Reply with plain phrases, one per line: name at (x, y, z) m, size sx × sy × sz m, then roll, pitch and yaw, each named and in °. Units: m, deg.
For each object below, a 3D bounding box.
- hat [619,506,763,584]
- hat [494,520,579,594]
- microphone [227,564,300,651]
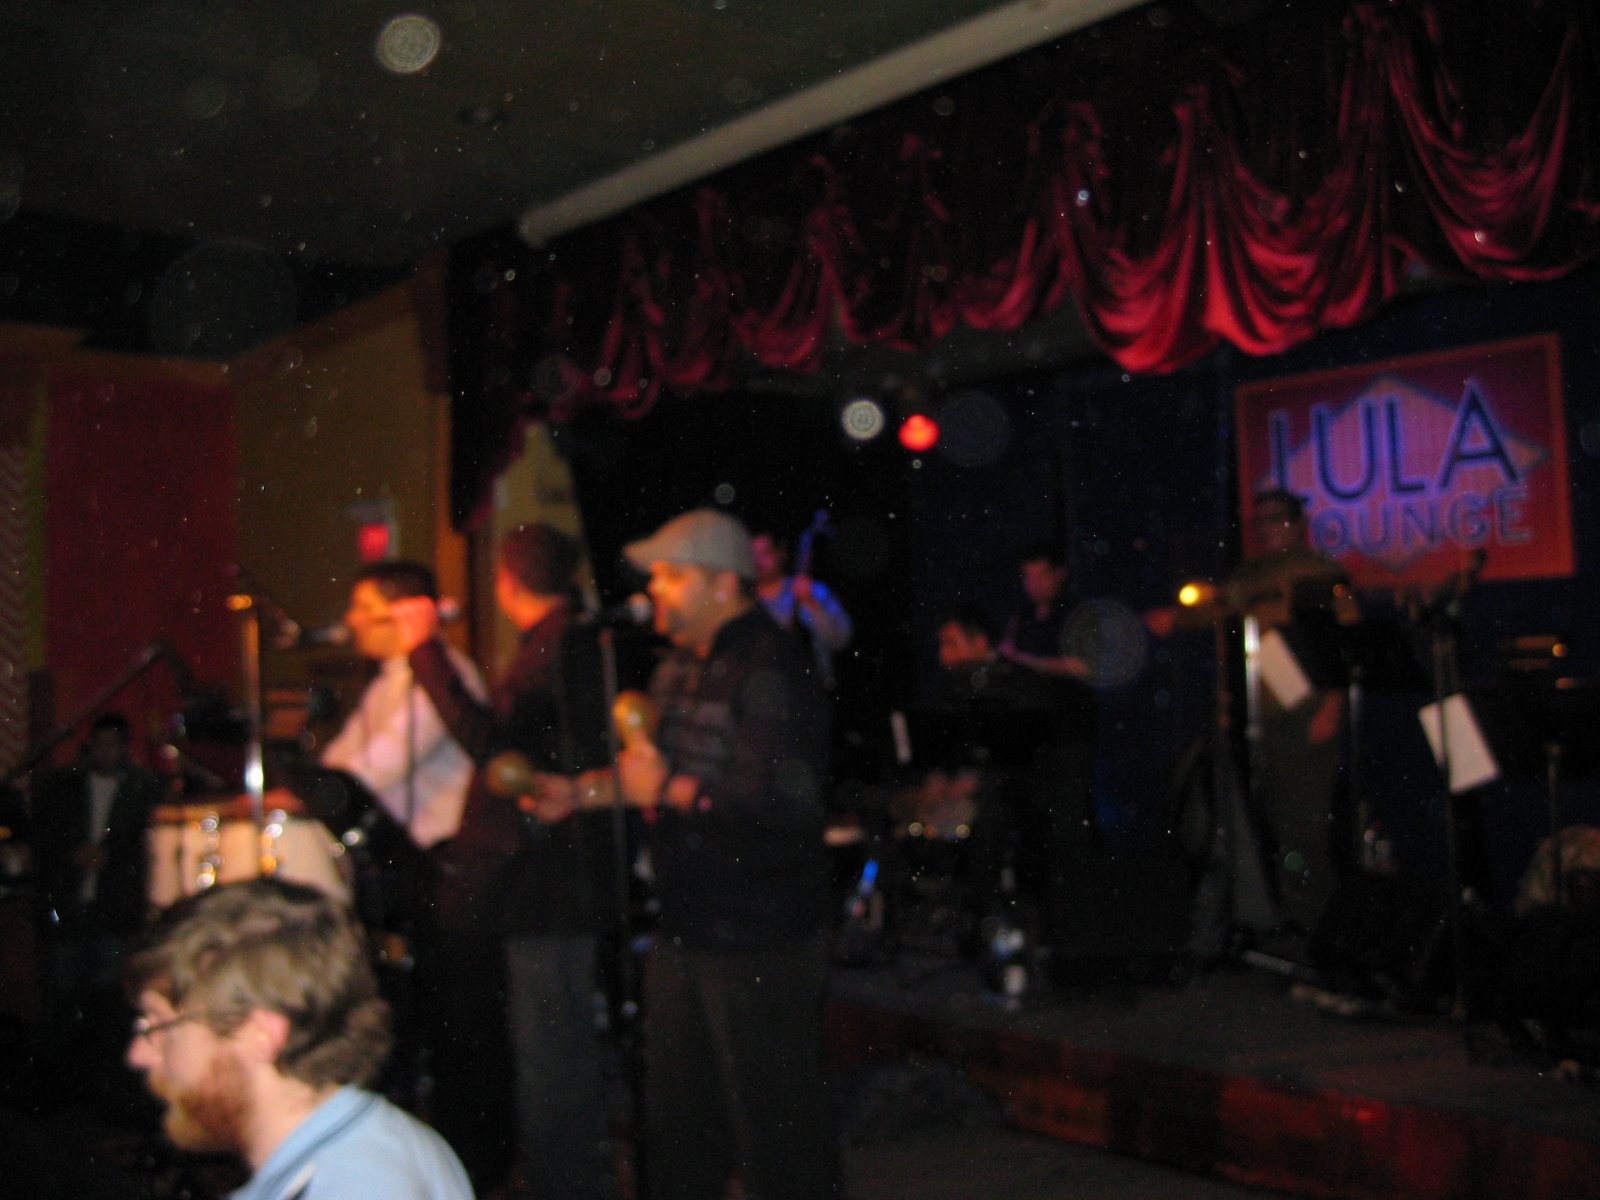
hat at (-0.324, -0.171, 5.042) m, size 0.302 × 0.177 × 0.227 m, roll 19°, pitch 0°, yaw -1°
hat at (-0.812, -0.122, 5.032) m, size 0.179 × 0.242 × 0.233 m, roll -30°, pitch -33°, yaw -18°
microphone at (-2.411, 0.039, 7.177) m, size 0.112 × 0.504 × 0.206 m, roll -31°, pitch -41°, yaw -8°
